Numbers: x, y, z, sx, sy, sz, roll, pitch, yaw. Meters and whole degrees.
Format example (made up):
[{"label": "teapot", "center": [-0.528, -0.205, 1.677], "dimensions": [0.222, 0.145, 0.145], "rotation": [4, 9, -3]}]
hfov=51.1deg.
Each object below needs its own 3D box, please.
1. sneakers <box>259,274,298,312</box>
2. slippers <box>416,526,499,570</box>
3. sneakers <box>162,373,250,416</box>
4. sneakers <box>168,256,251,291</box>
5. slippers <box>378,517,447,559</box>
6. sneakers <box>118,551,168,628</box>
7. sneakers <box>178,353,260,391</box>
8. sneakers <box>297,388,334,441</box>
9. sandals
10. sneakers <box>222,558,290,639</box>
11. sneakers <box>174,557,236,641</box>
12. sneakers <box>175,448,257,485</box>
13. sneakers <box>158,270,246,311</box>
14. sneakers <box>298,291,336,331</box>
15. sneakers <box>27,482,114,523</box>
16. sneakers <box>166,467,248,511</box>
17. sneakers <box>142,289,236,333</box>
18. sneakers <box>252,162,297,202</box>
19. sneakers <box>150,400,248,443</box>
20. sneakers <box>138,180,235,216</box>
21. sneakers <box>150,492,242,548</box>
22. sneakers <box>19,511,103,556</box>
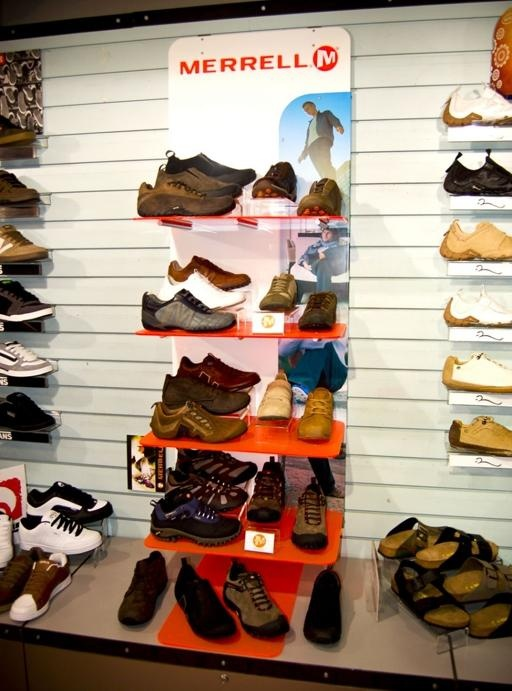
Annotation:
[{"label": "sneakers", "center": [0.080, -0.193, 1.992], "dimensions": [0.114, 0.140, 0.274], "rotation": [1, 10, 9]}, {"label": "slippers", "center": [0.809, 0.800, 2.177], "dimensions": [0.322, 0.109, 0.149], "rotation": [-5, 4, -15]}, {"label": "sneakers", "center": [-0.194, 0.188, 2.165], "dimensions": [0.352, 0.144, 0.146], "rotation": [2, 16, 5]}, {"label": "sneakers", "center": [-0.179, -0.307, 2.212], "dimensions": [0.395, 0.155, 0.134], "rotation": [3, 12, 0]}, {"label": "slippers", "center": [0.655, 0.795, 2.231], "dimensions": [0.264, 0.098, 0.132], "rotation": [-6, 0, -13]}, {"label": "sneakers", "center": [-0.449, 0.983, 2.164], "dimensions": [0.095, 0.103, 0.269], "rotation": [3, 10, 8]}, {"label": "sneakers", "center": [-0.142, 0.108, 2.266], "dimensions": [0.374, 0.149, 0.140], "rotation": [7, 8, 1]}, {"label": "sneakers", "center": [0.228, 0.259, 2.035], "dimensions": [0.116, 0.133, 0.280], "rotation": [2, 10, 11]}, {"label": "sandals", "center": [0.639, 0.934, 1.983], "dimensions": [0.160, 0.096, 0.299], "rotation": [-16, 23, -18]}, {"label": "sneakers", "center": [-0.008, 0.957, 2.041], "dimensions": [0.129, 0.137, 0.316], "rotation": [-5, 14, -33]}, {"label": "sneakers", "center": [-0.201, 0.981, 2.051], "dimensions": [0.116, 0.118, 0.303], "rotation": [-3, 5, -27]}, {"label": "sneakers", "center": [-0.167, 0.503, 2.337], "dimensions": [0.390, 0.161, 0.136], "rotation": [4, 2, 7]}, {"label": "sneakers", "center": [-0.197, -0.216, 2.037], "dimensions": [0.387, 0.153, 0.127], "rotation": [3, 16, 8]}, {"label": "sneakers", "center": [0.221, -0.123, 1.960], "dimensions": [0.132, 0.134, 0.229], "rotation": [1, 9, 6]}, {"label": "sneakers", "center": [-0.858, 0.723, 2.553], "dimensions": [0.464, 0.186, 0.165], "rotation": [8, 0, -6]}, {"label": "sneakers", "center": [-0.187, 0.591, 2.149], "dimensions": [0.381, 0.149, 0.136], "rotation": [7, 7, 2]}, {"label": "sneakers", "center": [-0.268, -0.135, 1.980], "dimensions": [0.408, 0.167, 0.141], "rotation": [2, 10, 10]}, {"label": "sneakers", "center": [0.077, -0.622, 1.991], "dimensions": [0.102, 0.112, 0.250], "rotation": [1, 16, 15]}, {"label": "sneakers", "center": [-0.222, 0.284, 2.049], "dimensions": [0.333, 0.126, 0.162], "rotation": [1, 7, 3]}, {"label": "sneakers", "center": [-0.280, -0.549, 2.029], "dimensions": [0.418, 0.144, 0.143], "rotation": [0, 19, 8]}, {"label": "sneakers", "center": [-0.246, 0.671, 2.117], "dimensions": [0.379, 0.172, 0.159], "rotation": [2, 13, 6]}, {"label": "sneakers", "center": [-0.872, 0.829, 2.437], "dimensions": [0.425, 0.185, 0.166], "rotation": [3, 4, -2]}]
